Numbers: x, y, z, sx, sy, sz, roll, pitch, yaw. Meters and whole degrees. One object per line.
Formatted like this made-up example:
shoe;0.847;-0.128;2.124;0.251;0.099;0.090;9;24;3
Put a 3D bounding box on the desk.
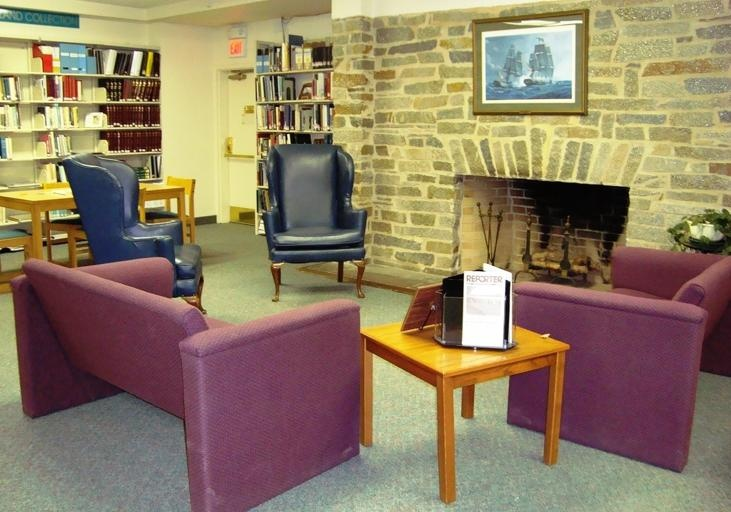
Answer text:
desk;0.504;0.650;2.932;0.954;0.725;0.916;-3;11;-29
